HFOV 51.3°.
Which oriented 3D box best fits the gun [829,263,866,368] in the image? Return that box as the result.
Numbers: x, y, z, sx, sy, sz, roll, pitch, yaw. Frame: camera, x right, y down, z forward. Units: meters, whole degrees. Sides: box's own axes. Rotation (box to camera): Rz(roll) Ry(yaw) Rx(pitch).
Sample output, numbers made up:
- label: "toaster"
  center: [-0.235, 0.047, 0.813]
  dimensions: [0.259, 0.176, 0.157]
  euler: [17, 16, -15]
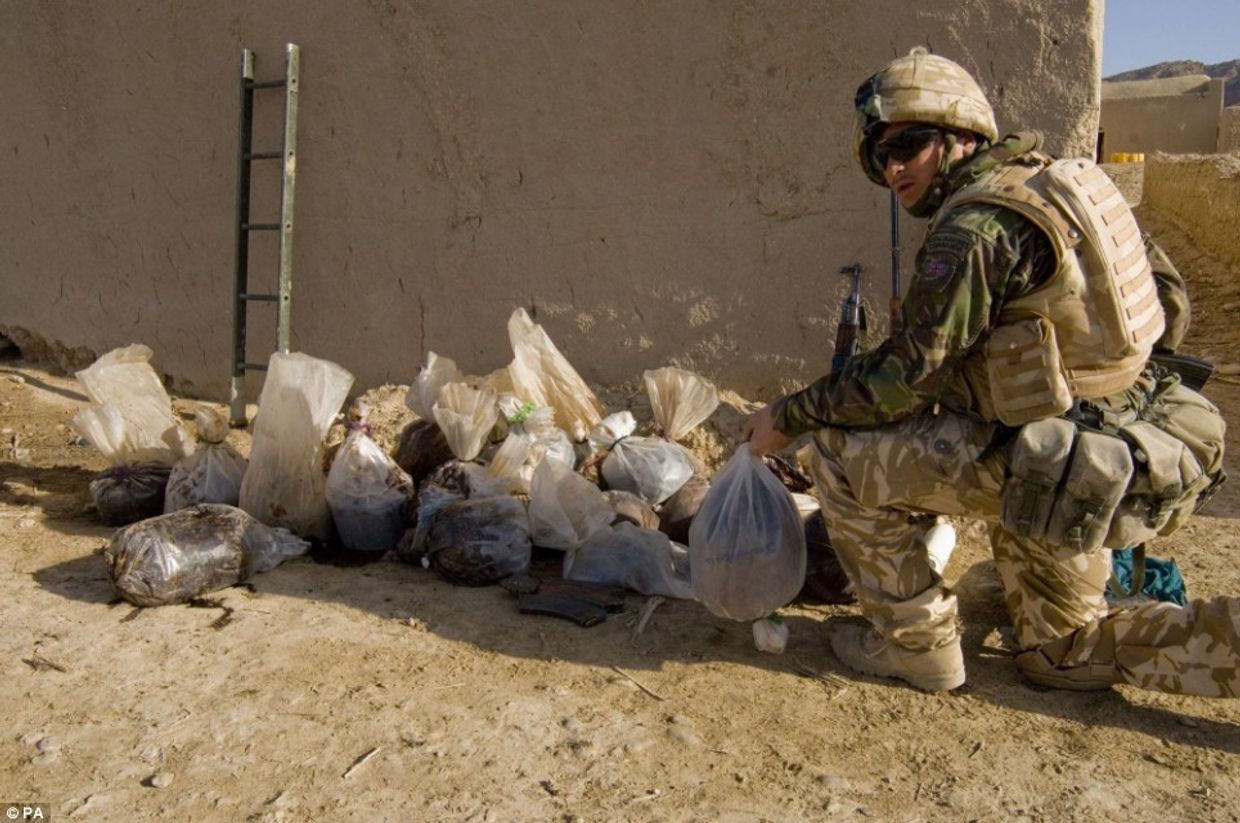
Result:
- label: "gun"
  center: [1.107, -0.467, 6.214]
  dimensions: [0.096, 0.603, 0.207]
  euler: [5, 3, 3]

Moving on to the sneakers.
- label: "sneakers"
  center: [1.139, 1.000, 5.334]
  dimensions: [0.230, 0.266, 0.535]
  euler: [-26, 28, -32]

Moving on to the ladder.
- label: "ladder"
  center: [-2.126, -1.028, 7.634]
  dimensions: [0.541, 2.244, 0.228]
  euler: [6, 8, 28]
